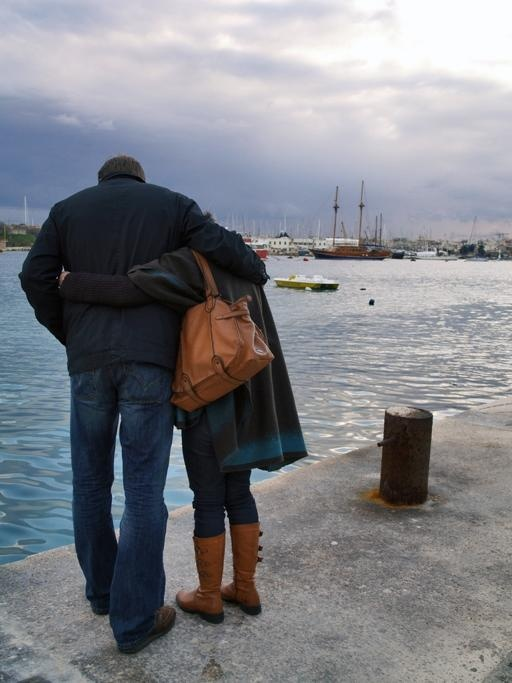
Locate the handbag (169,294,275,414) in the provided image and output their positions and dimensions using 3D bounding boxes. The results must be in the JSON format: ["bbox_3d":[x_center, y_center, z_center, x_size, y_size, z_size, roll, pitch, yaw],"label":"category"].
[{"bbox_3d":[-0.142,0.059,2.217,0.389,0.413,0.164,-26,-28,31],"label":"handbag"}]

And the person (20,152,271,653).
[{"bbox_3d":[-0.509,0.189,2.371,0.720,1.842,0.561,5,7,29],"label":"person"}]

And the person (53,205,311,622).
[{"bbox_3d":[-0.368,0.265,2.369,1.054,1.852,0.876,-2,9,-2],"label":"person"}]
